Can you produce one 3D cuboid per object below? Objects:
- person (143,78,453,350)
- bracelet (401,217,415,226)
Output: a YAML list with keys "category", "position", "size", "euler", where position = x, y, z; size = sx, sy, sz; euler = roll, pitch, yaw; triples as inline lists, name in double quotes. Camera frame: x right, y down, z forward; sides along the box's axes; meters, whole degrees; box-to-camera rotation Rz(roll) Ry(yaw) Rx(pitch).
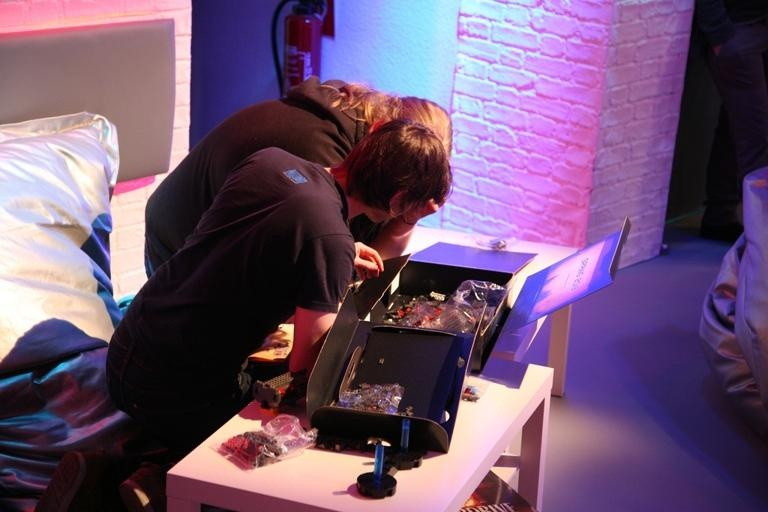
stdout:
- category: "person"
  position: [-0.327, -0.271, 2.325]
  size: [0.971, 0.674, 0.999]
  euler: [0, -12, -10]
- category: "bracelet"
  position: [0.071, -0.102, 1.763]
  size: [0.044, 0.021, 0.059]
  euler: [-3, -1, 5]
